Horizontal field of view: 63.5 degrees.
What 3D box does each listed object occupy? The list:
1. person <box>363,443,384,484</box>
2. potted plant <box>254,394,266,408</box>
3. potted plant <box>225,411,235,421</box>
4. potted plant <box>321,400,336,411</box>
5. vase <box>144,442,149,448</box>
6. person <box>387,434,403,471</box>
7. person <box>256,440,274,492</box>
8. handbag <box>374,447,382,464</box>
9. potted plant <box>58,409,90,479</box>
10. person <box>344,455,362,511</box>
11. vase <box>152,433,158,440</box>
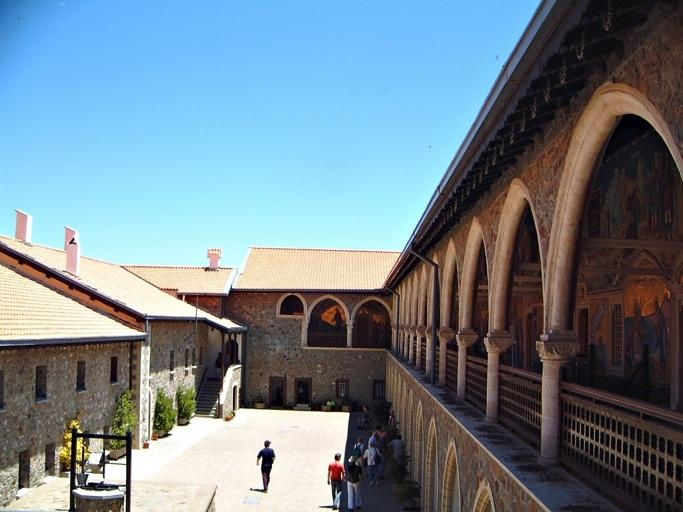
[{"bbox_3d":[1.165,7.151,19.406,0.606,1.327,1.451,1,-6,4],"label":"person"},{"bbox_3d":[-5.122,9.193,34.751,0.662,0.861,0.584,0,0,0],"label":"potted plant"},{"bbox_3d":[-5.973,8.554,29.485,0.430,0.262,0.708,0,-8,-2],"label":"potted plant"},{"bbox_3d":[-0.842,9.351,34.322,0.567,0.400,0.591,4,-10,-23],"label":"potted plant"},{"bbox_3d":[-7.715,7.505,21.898,0.158,0.171,0.170,2,-2,-11],"label":"vase"},{"bbox_3d":[1.877,6.734,19.164,0.522,1.572,0.402,2,22,-5],"label":"person"},{"bbox_3d":[-2.514,6.744,18.377,0.538,1.668,2.714,2,-6,-7],"label":"person"},{"bbox_3d":[1.284,6.967,19.189,0.133,0.637,0.749,0,-6,17],"label":"handbag"},{"bbox_3d":[-7.771,5.596,16.111,0.794,1.611,3.133,4,-7,-26],"label":"potted plant"},{"bbox_3d":[0.358,6.462,15.749,0.454,1.603,1.218,2,-6,1],"label":"person"},{"bbox_3d":[-7.875,7.652,23.390,0.181,0.288,0.303,0,-6,16],"label":"vase"}]
